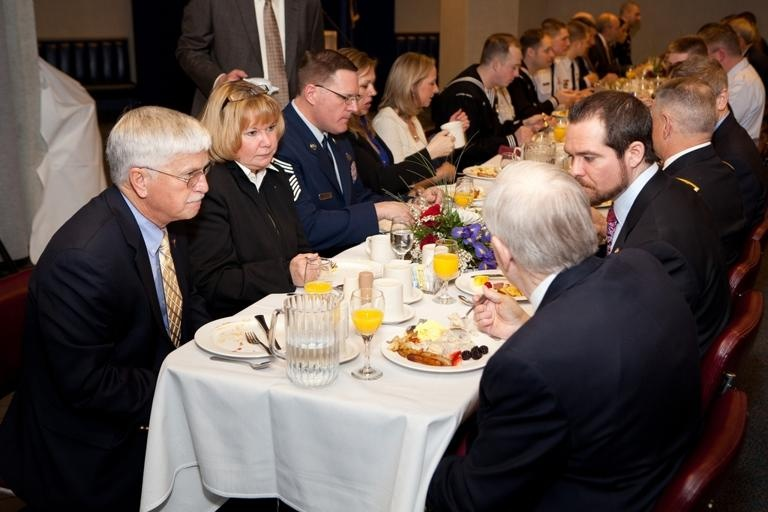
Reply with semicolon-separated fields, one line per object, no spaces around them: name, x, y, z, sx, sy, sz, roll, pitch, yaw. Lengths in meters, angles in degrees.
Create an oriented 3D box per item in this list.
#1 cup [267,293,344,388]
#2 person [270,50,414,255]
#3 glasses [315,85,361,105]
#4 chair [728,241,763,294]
cup;-0.235;0.269;1.882;0.183;0.283;0.149;1;10;-3
person;-0.277;-0.358;3.710;0.901;1.741;0.899;2;17;5
glasses;-0.272;-0.977;3.447;0.143;0.039;0.141;30;17;7
chair;1.700;0.046;2.705;0.113;0.147;0.205;33;-3;35
